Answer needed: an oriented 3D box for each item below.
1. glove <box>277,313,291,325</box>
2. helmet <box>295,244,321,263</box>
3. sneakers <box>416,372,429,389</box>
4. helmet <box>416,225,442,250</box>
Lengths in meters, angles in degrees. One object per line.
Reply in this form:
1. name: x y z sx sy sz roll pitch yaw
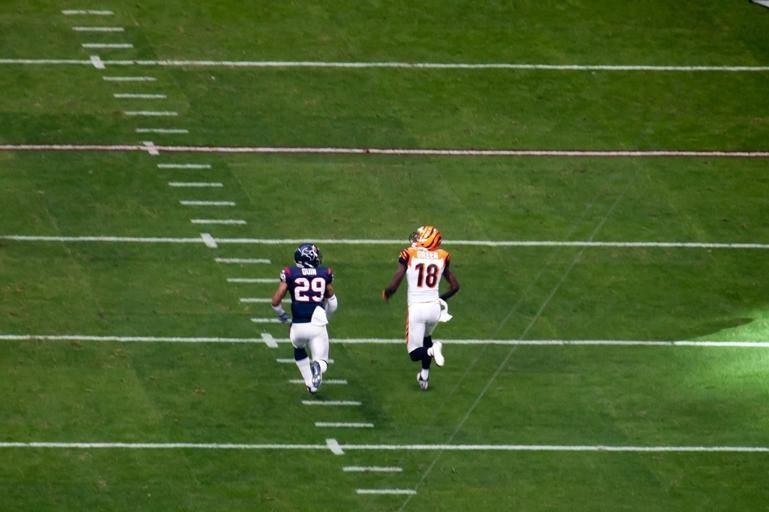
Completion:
1. glove: -2.161 1.312 45.031 0.249 0.297 0.122 -4 51 1
2. helmet: -1.635 -0.060 44.903 0.550 0.469 0.428 0 29 -4
3. sneakers: 0.877 2.781 46.017 0.266 0.334 0.186 8 28 42
4. helmet: 0.968 -0.478 45.419 0.602 0.430 0.426 16 8 19
